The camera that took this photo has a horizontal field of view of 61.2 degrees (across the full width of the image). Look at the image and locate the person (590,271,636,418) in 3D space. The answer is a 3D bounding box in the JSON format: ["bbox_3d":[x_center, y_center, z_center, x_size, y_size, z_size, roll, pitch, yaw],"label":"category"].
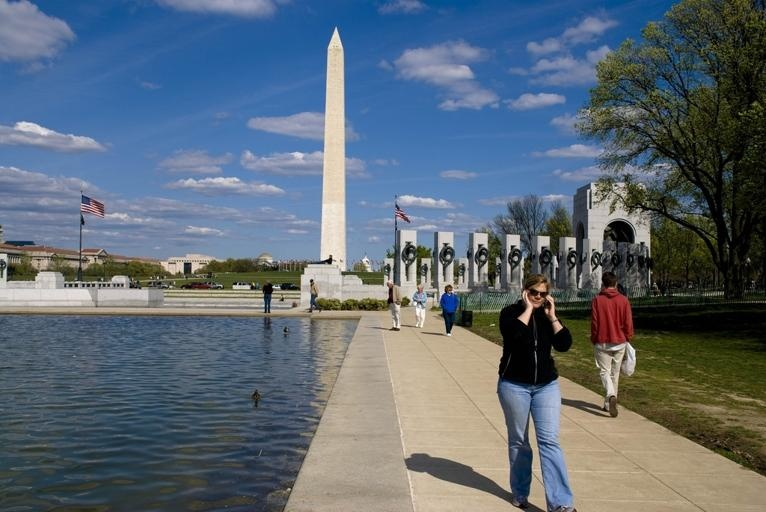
[{"bbox_3d":[4.819,1.866,13.672,0.803,2.969,0.486,-1,-3,17],"label":"person"}]

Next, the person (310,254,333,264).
[{"bbox_3d":[-4.010,0.280,44.281,1.832,0.704,1.279,1,-2,1],"label":"person"}]

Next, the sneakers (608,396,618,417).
[{"bbox_3d":[4.829,3.148,13.508,0.193,0.432,0.208,-1,-7,-3],"label":"sneakers"}]
